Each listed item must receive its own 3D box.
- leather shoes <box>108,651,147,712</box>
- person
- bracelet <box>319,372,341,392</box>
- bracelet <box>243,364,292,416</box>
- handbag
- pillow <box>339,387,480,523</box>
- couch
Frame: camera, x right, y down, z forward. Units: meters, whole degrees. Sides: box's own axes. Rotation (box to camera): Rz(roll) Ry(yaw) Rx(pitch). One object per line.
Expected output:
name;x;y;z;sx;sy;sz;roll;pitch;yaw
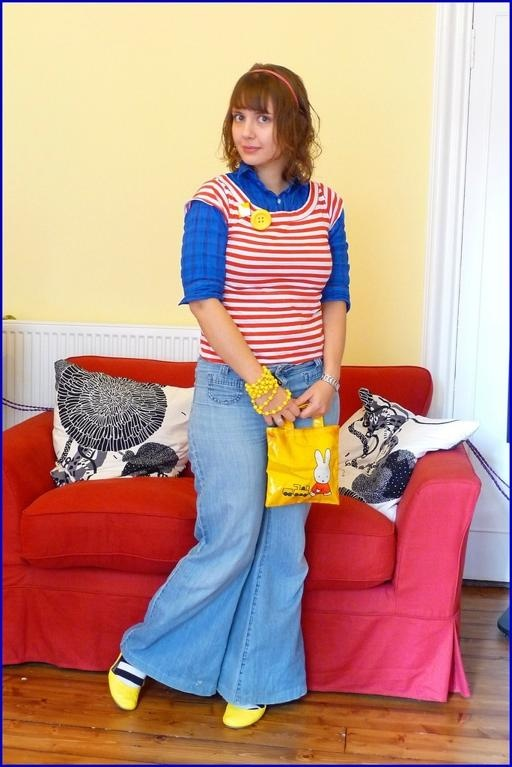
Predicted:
leather shoes;-0.302;0.704;1.498;0.059;0.149;0.044;15;2;-23
person;-0.065;0.058;1.435;0.540;1.454;0.323;2;5;3
bracelet;0.159;-0.008;1.442;0.044;0.030;0.048;5;-31;38
bracelet;0.022;0.007;1.288;0.074;0.104;0.040;-5;5;-2
handbag;0.092;0.169;1.328;0.179;0.244;0.041;0;-4;-16
pillow;0.470;0.267;1.906;0.351;0.109;0.356;-43;23;5
couch;-0.043;0.465;1.618;1.216;0.757;0.671;1;9;7
